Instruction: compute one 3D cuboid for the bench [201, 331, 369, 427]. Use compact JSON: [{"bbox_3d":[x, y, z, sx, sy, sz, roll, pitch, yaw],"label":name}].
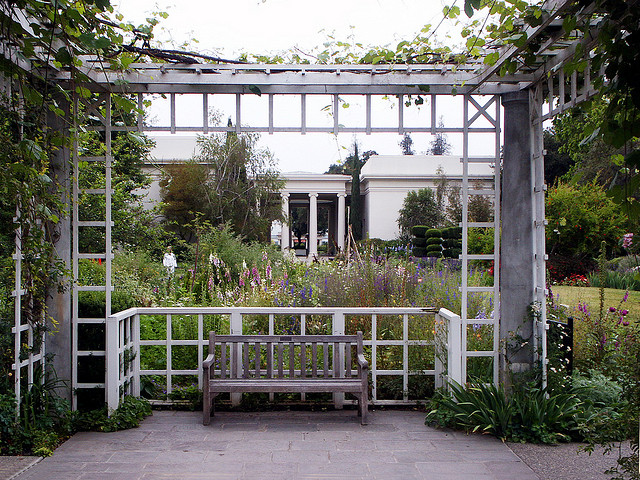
[{"bbox_3d":[-0.343,1.218,6.304,1.563,0.812,1.084,0,12,0],"label":"bench"}]
